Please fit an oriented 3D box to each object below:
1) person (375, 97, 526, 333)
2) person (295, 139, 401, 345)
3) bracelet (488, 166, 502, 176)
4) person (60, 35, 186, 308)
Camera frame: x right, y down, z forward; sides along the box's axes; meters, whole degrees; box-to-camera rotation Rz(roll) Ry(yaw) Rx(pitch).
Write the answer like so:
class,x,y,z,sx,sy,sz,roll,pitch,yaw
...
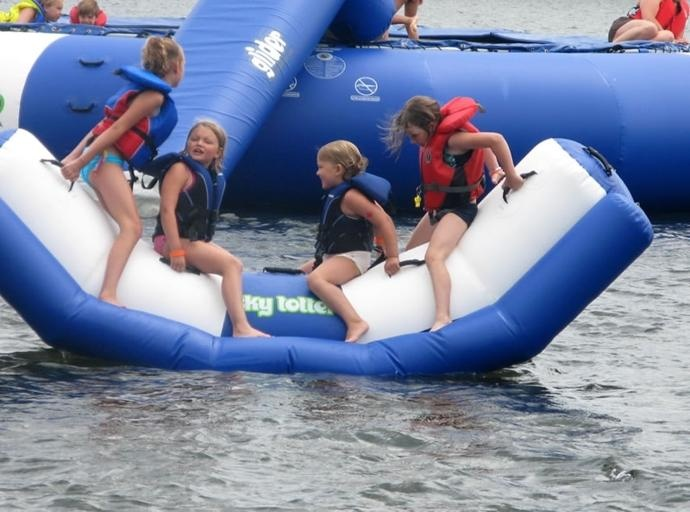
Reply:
class,x,y,z,sx,sy,sz,roll,pitch,yaw
person,0.600,-0.322,5.470,0.648,1.100,0.964,3,24,-18
person,0.044,-0.082,5.317,0.576,0.998,0.689,10,24,-3
bracelet,0.866,-0.487,5.551,0.060,0.032,0.068,11,-7,2
person,-1.264,-0.503,5.238,0.566,1.369,0.809,8,24,-9
